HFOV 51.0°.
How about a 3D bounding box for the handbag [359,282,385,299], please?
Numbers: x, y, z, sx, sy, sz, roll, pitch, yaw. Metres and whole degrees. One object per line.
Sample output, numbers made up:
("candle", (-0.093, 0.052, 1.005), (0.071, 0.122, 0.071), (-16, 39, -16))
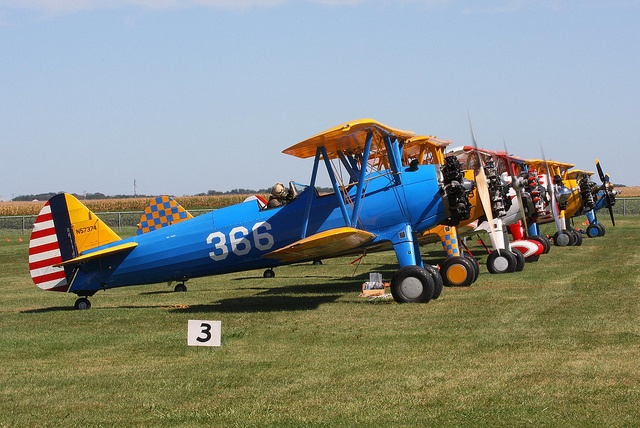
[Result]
("handbag", (1.228, 1.745, 15.410), (0.421, 0.239, 0.377), (0, -2, 7))

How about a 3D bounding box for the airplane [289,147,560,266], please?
("airplane", (1.770, -0.157, 15.544), (4.425, 1.775, 4.585), (1, 2, 22))

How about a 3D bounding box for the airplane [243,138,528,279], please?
("airplane", (2.107, -0.600, 17.991), (5.019, 2.124, 5.311), (-6, 0, 21))
